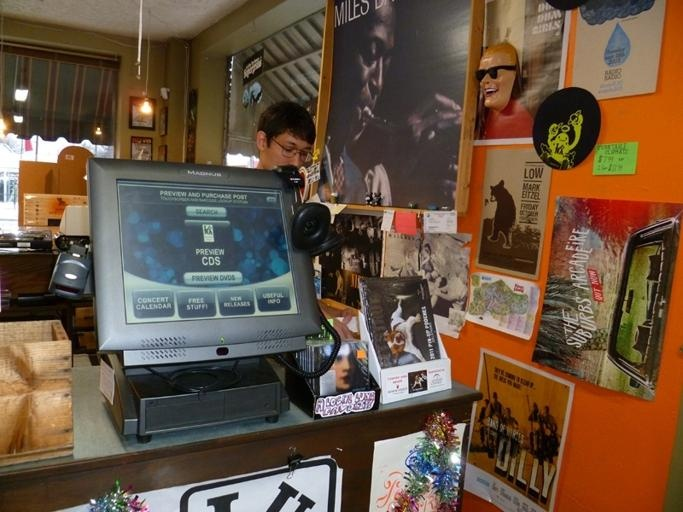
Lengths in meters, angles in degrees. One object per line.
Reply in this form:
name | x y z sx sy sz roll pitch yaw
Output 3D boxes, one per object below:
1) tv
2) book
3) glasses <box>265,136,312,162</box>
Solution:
tv | -0.357 0.024 1.223 0.496 0.489 0.202 -3 -29 -27
book | 0.076 0.234 1.615 0.361 0.373 0.377 1 -6 -26
glasses | -0.281 -0.581 2.512 0.132 0.043 0.139 11 14 -36
